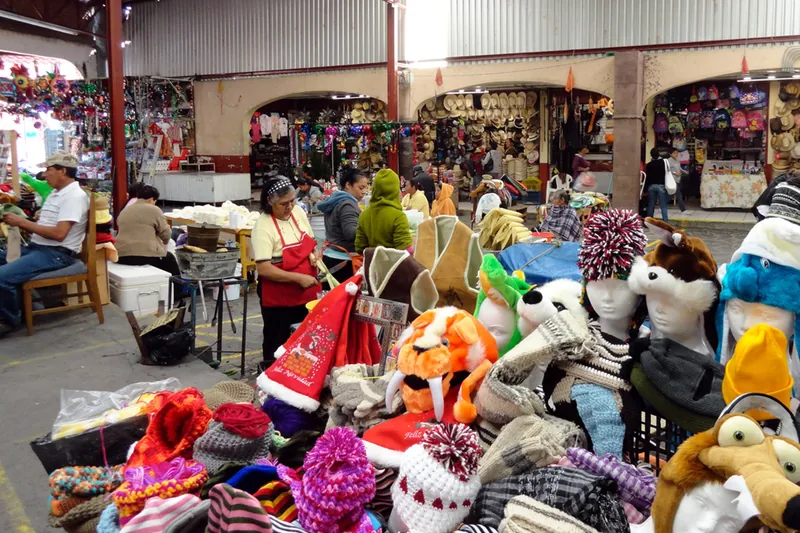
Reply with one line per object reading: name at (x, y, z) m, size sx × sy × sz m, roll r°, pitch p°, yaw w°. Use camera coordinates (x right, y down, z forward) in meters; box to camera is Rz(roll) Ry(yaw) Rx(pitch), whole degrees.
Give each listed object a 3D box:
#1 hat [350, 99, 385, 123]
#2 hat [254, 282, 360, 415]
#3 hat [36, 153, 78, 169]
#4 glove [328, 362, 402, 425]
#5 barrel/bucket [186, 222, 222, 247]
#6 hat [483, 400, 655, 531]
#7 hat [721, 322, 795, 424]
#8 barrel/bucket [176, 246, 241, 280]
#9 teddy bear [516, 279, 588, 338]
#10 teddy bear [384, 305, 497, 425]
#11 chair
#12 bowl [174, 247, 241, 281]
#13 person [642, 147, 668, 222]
hat at (-0.921, -4.523, 17.213) m, size 1.009 × 0.632 × 0.687 m, roll -3°, pitch 15°, yaw -6°
hat at (-0.503, 0.527, 3.675) m, size 0.466 × 0.878 × 0.227 m, roll 18°, pitch -11°, yaw 32°
hat at (-3.550, -1.091, 6.132) m, size 0.299 × 0.131 × 0.206 m, roll 0°, pitch 9°, yaw 3°
glove at (-0.231, 0.694, 3.214) m, size 0.330 × 0.156 × 0.344 m, roll 9°, pitch 9°, yaw -22°
barrel/bucket at (-1.858, -0.290, 5.673) m, size 0.217 × 0.223 × 0.236 m, roll 3°, pitch 9°, yaw 0°
hat at (0.635, 0.859, 2.567) m, size 0.466 × 0.216 × 0.492 m, roll -19°, pitch 28°, yaw -12°
hat at (1.451, 0.408, 2.447) m, size 0.248 × 0.348 × 0.345 m, roll 6°, pitch 12°, yaw 23°
barrel/bucket at (-1.743, -0.029, 5.476) m, size 0.407 × 0.195 × 0.299 m, roll -2°, pitch 2°, yaw -37°
teddy bear at (0.792, 0.210, 3.094) m, size 0.330 × 0.259 × 0.247 m, roll -1°, pitch -1°, yaw -42°
teddy bear at (0.172, 0.444, 2.929) m, size 0.439 × 0.472 × 0.536 m, roll -2°, pitch -1°, yaw 36°
chair at (-3.734, -0.099, 6.521) m, size 0.914 × 1.435 × 0.959 m, roll 3°, pitch 5°, yaw 17°
bowl at (-1.743, -0.030, 5.474) m, size 0.402 × 0.192 × 0.308 m, roll -1°, pitch 2°, yaw -37°
person at (5.582, -1.784, 12.938) m, size 0.510 × 1.479 × 0.920 m, roll 5°, pitch 16°, yaw 22°
